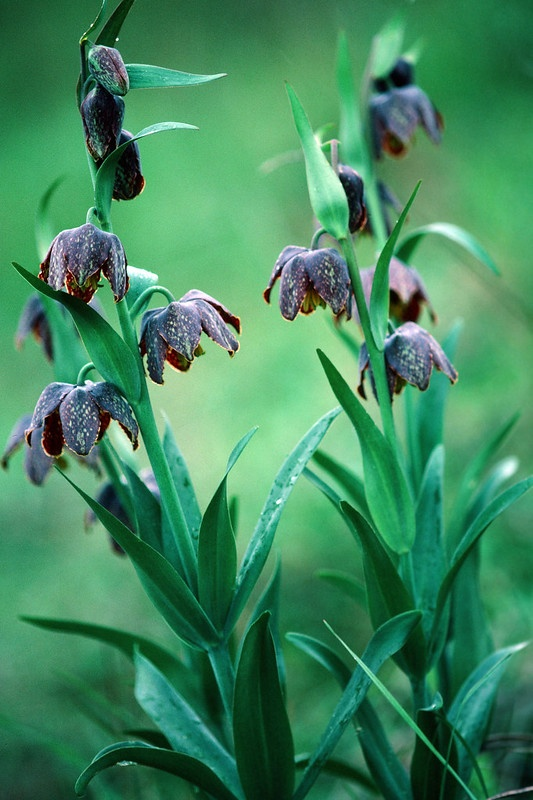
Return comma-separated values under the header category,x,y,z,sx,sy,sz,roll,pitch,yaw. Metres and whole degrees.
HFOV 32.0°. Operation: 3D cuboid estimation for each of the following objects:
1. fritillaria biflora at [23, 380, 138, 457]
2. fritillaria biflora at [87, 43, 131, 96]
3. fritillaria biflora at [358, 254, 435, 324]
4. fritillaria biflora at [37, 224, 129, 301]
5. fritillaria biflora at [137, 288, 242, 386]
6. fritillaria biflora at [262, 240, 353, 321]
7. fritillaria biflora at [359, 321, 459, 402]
category,x,y,z,sx,sy,sz,roll,pitch,yaw
fritillaria biflora,-0.138,0.012,0.689,0.062,0.044,0.064,9,-19,-29
fritillaria biflora,-0.113,-0.230,0.656,0.024,0.040,0.012,-25,-17,-27
fritillaria biflora,0.122,-0.094,0.858,0.062,0.037,0.063,16,-21,-17
fritillaria biflora,-0.125,-0.101,0.674,0.047,0.049,0.046,6,-7,41
fritillaria biflora,-0.062,-0.051,0.717,0.082,0.058,0.079,-15,9,24
fritillaria biflora,0.035,-0.091,0.723,0.057,0.055,0.068,-11,14,-16
fritillaria biflora,0.112,-0.027,0.745,0.076,0.048,0.058,-15,2,22
